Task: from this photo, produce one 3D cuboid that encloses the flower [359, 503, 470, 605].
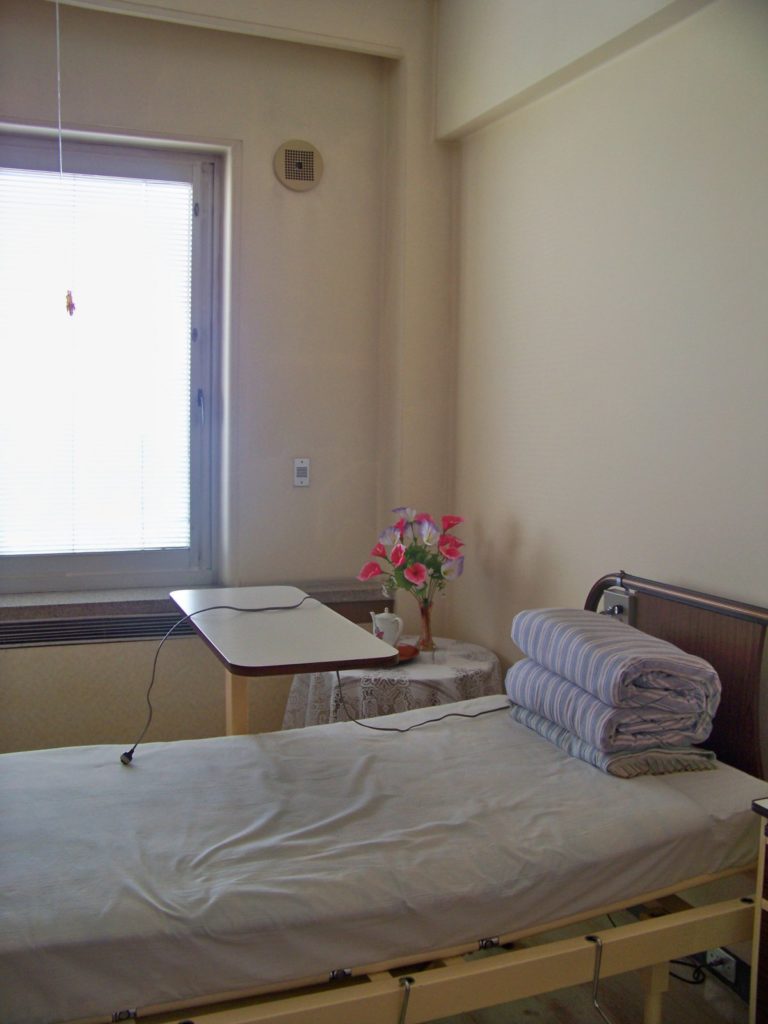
[{"bbox_3d":[0.132,0.117,2.660,0.290,0.249,0.296,-11,9,-34],"label":"flower"}]
